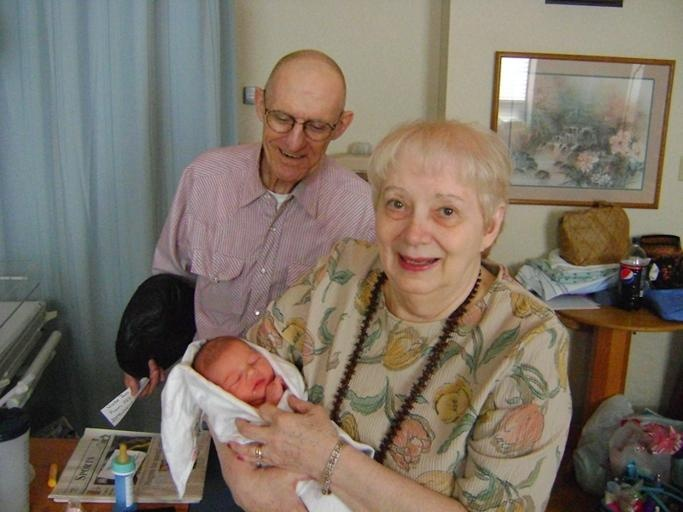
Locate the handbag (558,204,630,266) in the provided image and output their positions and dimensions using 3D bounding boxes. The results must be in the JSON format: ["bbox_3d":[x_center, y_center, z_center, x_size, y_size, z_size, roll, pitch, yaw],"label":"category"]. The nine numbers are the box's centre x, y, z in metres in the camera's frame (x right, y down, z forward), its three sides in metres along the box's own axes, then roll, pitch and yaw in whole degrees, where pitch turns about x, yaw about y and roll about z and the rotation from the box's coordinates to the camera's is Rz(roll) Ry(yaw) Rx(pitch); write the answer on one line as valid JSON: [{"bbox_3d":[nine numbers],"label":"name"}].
[{"bbox_3d":[1.486,-0.114,3.557,0.296,0.333,0.166,-4,2,-10],"label":"handbag"}]

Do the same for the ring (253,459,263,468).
[{"bbox_3d":[-0.277,0.687,2.012,0.018,0.028,0.025,-3,-21,-5],"label":"ring"}]

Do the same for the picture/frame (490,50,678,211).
[{"bbox_3d":[1.398,-0.778,3.537,0.941,0.908,0.040,2,12,1],"label":"picture/frame"}]

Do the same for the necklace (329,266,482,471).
[{"bbox_3d":[0.232,0.329,2.017,0.282,0.917,0.093,20,-9,29],"label":"necklace"}]

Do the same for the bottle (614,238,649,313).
[{"bbox_3d":[1.628,0.107,3.381,0.152,0.327,0.285,6,11,27],"label":"bottle"}]

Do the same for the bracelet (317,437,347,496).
[{"bbox_3d":[-0.032,0.646,1.876,0.034,0.144,0.110,8,7,28],"label":"bracelet"}]

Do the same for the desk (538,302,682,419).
[{"bbox_3d":[1.433,0.508,3.399,0.528,0.691,0.566,-1,12,-10],"label":"desk"}]

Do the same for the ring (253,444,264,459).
[{"bbox_3d":[-0.275,0.643,2.003,0.015,0.047,0.033,-2,2,-26],"label":"ring"}]
